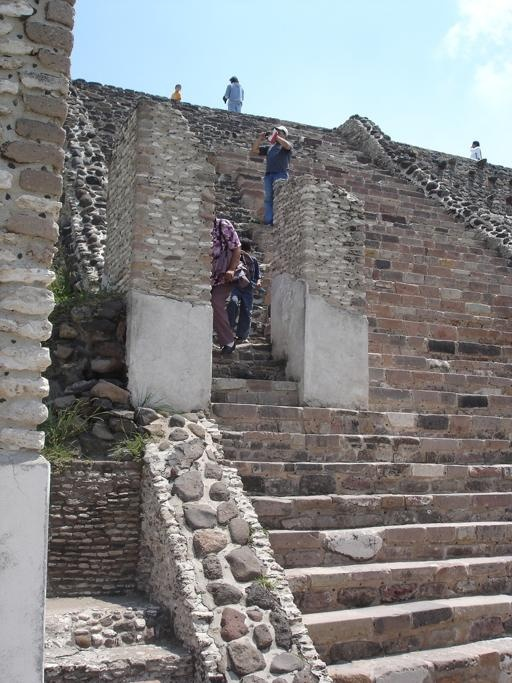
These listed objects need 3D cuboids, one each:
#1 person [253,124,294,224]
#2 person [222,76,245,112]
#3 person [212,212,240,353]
[{"bbox_3d":[0.191,-2.016,11.066,0.514,1.210,0.444,3,-4,25],"label":"person"},{"bbox_3d":[-0.467,-5.289,19.970,0.365,0.786,0.780,4,-1,-6],"label":"person"},{"bbox_3d":[-0.283,-0.536,8.186,0.249,1.125,0.394,4,-1,-3],"label":"person"}]
